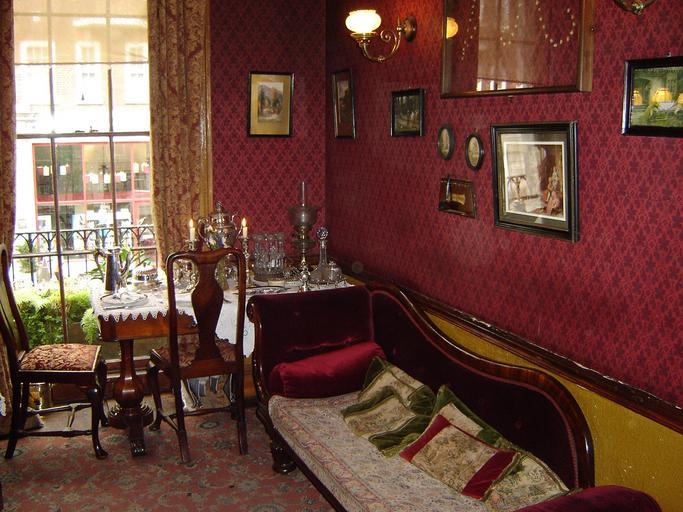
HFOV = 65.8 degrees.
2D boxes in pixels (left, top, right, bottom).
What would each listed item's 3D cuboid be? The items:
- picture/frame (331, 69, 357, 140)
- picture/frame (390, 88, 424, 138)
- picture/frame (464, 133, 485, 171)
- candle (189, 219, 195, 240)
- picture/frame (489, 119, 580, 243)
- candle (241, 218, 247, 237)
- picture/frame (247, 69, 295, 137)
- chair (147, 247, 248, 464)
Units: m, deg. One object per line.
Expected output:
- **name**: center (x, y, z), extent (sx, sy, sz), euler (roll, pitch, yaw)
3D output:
- **picture/frame**: center (0.014, -1.385, 4.808), extent (0.022, 0.574, 0.450), euler (-8, 14, -22)
- **picture/frame**: center (0.484, -1.049, 3.881), extent (0.030, 0.324, 0.326), euler (-13, 18, -35)
- **picture/frame**: center (0.815, -0.634, 3.256), extent (0.019, 0.237, 0.224), euler (2, 13, 38)
- **candle**: center (-1.216, -0.215, 4.216), extent (0.042, 0.166, 0.170), euler (-3, 11, -18)
- **picture/frame**: center (1.043, -0.405, 2.789), extent (0.045, 0.670, 0.633), euler (-5, 4, -25)
- **candle**: center (-0.850, -0.246, 4.551), extent (0.025, 0.165, 0.082), euler (-5, 11, -25)
- **picture/frame**: center (-0.716, -1.493, 5.082), extent (0.567, 0.870, 0.035), euler (-1, 5, -23)
- **chair**: center (-1.109, 0.656, 4.023), extent (0.730, 1.567, 0.965), euler (-5, 11, -26)
